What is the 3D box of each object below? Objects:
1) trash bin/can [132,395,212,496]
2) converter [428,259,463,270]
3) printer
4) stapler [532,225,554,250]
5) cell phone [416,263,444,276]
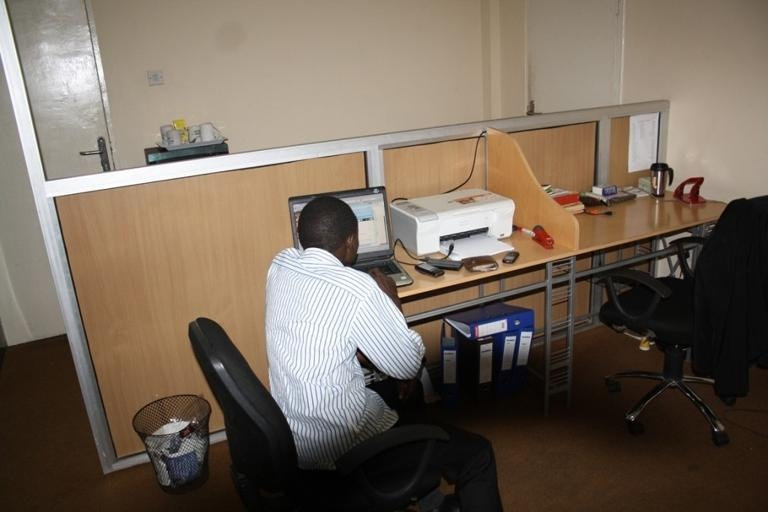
[{"bbox_3d":[-1.252,1.102,3.285,0.400,0.399,0.378,-3,20,6],"label":"trash bin/can"},{"bbox_3d":[0.356,0.052,3.258,0.150,0.040,0.081,6,12,-6],"label":"converter"},{"bbox_3d":[0.393,-0.233,3.426,0.556,0.214,0.486,-14,26,-26],"label":"printer"},{"bbox_3d":[0.989,-0.115,3.416,0.066,0.077,0.183,-11,31,-8],"label":"stapler"},{"bbox_3d":[0.259,0.079,3.224,0.127,0.029,0.075,21,32,39],"label":"cell phone"}]
